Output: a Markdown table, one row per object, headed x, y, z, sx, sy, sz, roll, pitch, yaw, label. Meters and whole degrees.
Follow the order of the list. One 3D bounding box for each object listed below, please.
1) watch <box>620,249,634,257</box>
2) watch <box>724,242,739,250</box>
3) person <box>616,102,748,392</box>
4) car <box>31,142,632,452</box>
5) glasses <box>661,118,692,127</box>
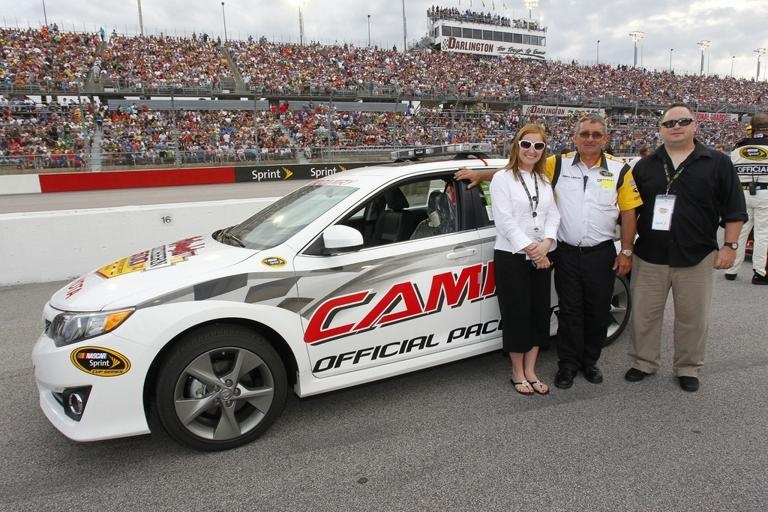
| x | y | z | sx | sy | sz | roll | pitch | yaw | label |
| --- | --- | --- | --- | --- | --- | --- | --- | --- | --- |
| 2.424 | -0.023 | 4.768 | 0.070 | 0.025 | 0.068 | -28 | 36 | -29 | watch |
| 3.280 | -0.096 | 4.527 | 0.103 | 0.070 | 0.118 | -5 | -14 | 42 | watch |
| 2.864 | -0.087 | 4.597 | 0.920 | 2.630 | 0.697 | 3 | 17 | 25 | person |
| -0.151 | 0.020 | 5.438 | 6.103 | 2.330 | 2.313 | -7 | 14 | -22 | car |
| 2.800 | -1.268 | 4.572 | 0.244 | 0.077 | 0.111 | 3 | 17 | 27 | glasses |
